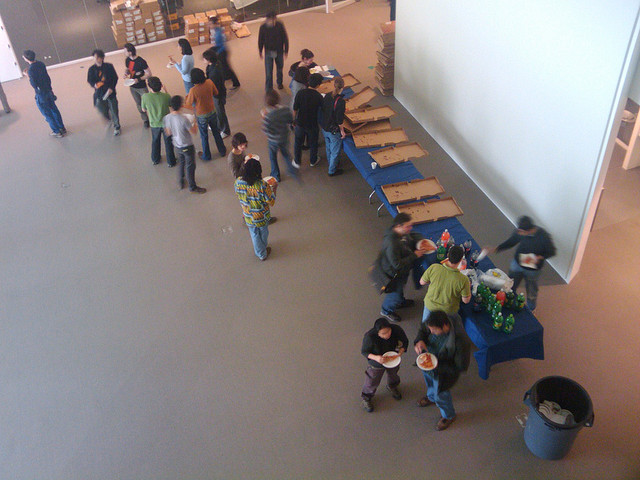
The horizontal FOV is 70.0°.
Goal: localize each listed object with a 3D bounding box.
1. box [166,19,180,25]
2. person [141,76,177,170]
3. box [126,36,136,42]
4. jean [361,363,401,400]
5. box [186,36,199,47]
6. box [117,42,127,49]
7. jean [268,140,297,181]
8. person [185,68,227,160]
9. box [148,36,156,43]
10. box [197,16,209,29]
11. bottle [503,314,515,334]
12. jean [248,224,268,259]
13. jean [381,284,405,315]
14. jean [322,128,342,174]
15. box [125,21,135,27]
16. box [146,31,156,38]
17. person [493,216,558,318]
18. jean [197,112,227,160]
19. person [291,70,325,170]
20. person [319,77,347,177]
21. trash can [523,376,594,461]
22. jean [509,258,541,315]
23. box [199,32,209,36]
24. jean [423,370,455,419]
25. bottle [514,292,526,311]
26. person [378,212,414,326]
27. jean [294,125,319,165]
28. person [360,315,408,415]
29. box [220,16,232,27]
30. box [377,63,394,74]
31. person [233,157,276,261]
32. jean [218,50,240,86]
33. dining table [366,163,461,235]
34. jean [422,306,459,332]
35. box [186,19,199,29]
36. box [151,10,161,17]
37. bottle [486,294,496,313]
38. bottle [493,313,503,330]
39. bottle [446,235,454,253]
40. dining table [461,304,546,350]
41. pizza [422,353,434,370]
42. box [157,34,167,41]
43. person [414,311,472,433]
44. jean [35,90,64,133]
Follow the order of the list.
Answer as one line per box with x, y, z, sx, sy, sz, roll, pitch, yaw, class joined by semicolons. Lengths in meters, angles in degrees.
-3.910;-5.880;12.241;0.359;0.112;0.074;-16;34;-11;box
-2.829;-2.164;8.167;0.483;1.669;0.520;2;41;-7;person
-4.962;-5.367;12.128;0.237;0.123;0.073;-10;33;-3;box
0.732;1.642;5.490;0.450;0.246;1.070;-1;6;11;jean
-3.375;-5.344;12.202;0.321;0.241;0.233;-8;34;-1;box
-5.135;-5.165;12.076;0.293;0.160;0.171;17;41;31;box
-0.716;-1.460;8.004;0.483;0.816;0.441;-7;33;0;jean
-2.123;-2.343;8.336;0.634;1.688;0.554;-21;45;-26;person
-4.491;-5.447;12.341;0.174;0.125;0.102;-22;67;-18;box
-3.071;-5.784;12.099;0.268;0.241;0.187;-15;34;-11;box
2.029;0.928;5.088;0.096;0.162;0.164;8;37;22;bottle
-0.897;-0.010;6.774;0.225;0.641;0.241;-15;34;-12;jean
0.898;0.727;5.965;0.307;0.608;0.259;-2;33;7;jean
0.209;-1.542;7.848;0.296;0.903;0.377;-6;33;2;jean
-4.874;-5.633;11.847;0.224;0.117;0.040;-19;35;-16;box
-4.474;-5.539;12.238;0.176;0.136;0.044;-5;35;-12;box
2.411;0.387;5.662;0.738;1.452;0.518;12;39;29;person
-2.037;-1.956;8.526;0.481;0.873;0.425;-14;34;-10;jean
-0.207;-2.129;7.986;0.573;1.746;0.552;-6;46;-12;person
0.195;-1.856;7.722;0.420;1.671;0.750;-7;33;1;person
2.381;1.885;4.807;0.585;0.755;0.512;2;35;14;trash can
2.504;0.584;5.818;0.376;0.848;0.349;11;37;25;jean
-3.086;-5.539;12.223;0.252;0.088;0.043;-21;36;-18;box
1.241;1.689;4.976;0.188;0.648;0.246;-38;66;-5;jean
2.225;0.698;5.257;0.108;0.219;0.179;8;37;22;bottle
0.910;0.413;5.714;0.581;1.408;0.575;0;53;7;person
-0.279;-1.819;8.130;0.452;1.062;0.295;-2;50;-2;jean
0.651;1.320;5.078;0.552;1.330;0.519;-3;33;6;person
-2.538;-5.939;12.340;0.272;0.217;0.197;-17;35;-13;box
1.281;-3.660;9.689;0.169;0.150;0.458;-24;38;-22;box
-0.883;-0.425;6.584;0.553;1.657;0.532;-5;41;-3;person
-2.024;-3.809;10.120;0.168;0.856;0.413;1;34;12;jean
1.256;-0.621;6.646;0.751;0.284;1.458;-16;36;-11;dining table
1.285;0.875;5.121;0.258;0.361;0.219;-1;71;18;jean
-3.324;-5.692;11.974;0.299;0.234;0.189;-9;11;-19;box
-4.242;-5.958;11.945;0.234;0.141;0.168;-9;9;-17;box
1.881;0.722;5.223;0.085;0.244;0.091;3;33;-2;bottle
1.935;0.898;5.109;0.158;0.160;0.072;-26;38;-25;bottle
1.610;0.047;5.879;0.072;0.090;0.233;8;63;1;bottle
1.999;0.903;5.221;0.729;0.206;0.526;-13;36;-8;dining table
1.062;1.249;4.717;0.098;0.056;0.133;1;36;12;pizza
-4.253;-5.534;12.396;0.197;0.190;0.151;-21;61;-17;box
1.257;1.351;4.944;0.482;1.461;0.541;-18;34;-16;person
-5.411;-2.659;9.336;0.324;0.870;0.612;-23;37;-23;jean
